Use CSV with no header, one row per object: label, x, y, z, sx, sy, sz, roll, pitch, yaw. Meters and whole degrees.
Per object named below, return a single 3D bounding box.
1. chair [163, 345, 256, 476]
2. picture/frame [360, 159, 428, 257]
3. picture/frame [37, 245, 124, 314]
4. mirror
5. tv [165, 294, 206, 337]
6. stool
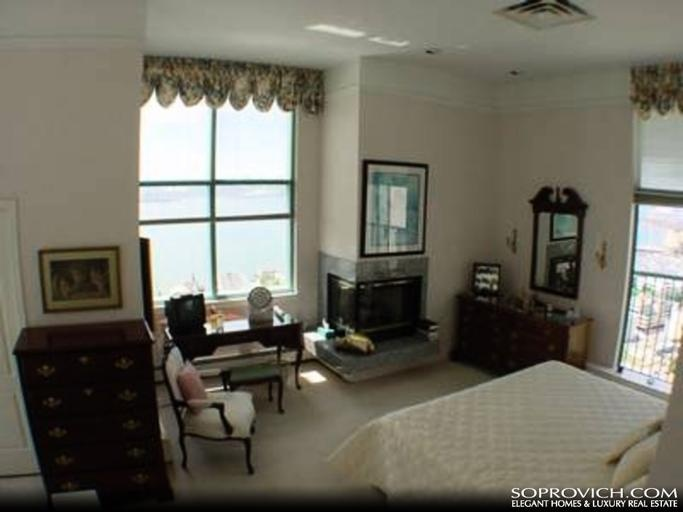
chair,-0.825,1.029,3.886,0.764,1.021,0.711,0,8,-7
picture/frame,0.441,-0.456,4.706,0.810,0.954,0.066,-7,15,-30
picture/frame,-1.424,0.115,2.825,0.349,0.349,0.024,-8,21,-26
mirror,1.963,-0.130,4.777,0.128,1.027,0.606,-7,4,-25
tv,-1.282,0.495,4.311,0.321,0.332,0.106,-1,4,-17
stool,-0.729,0.978,4.231,0.468,0.337,0.354,-1,2,-24
